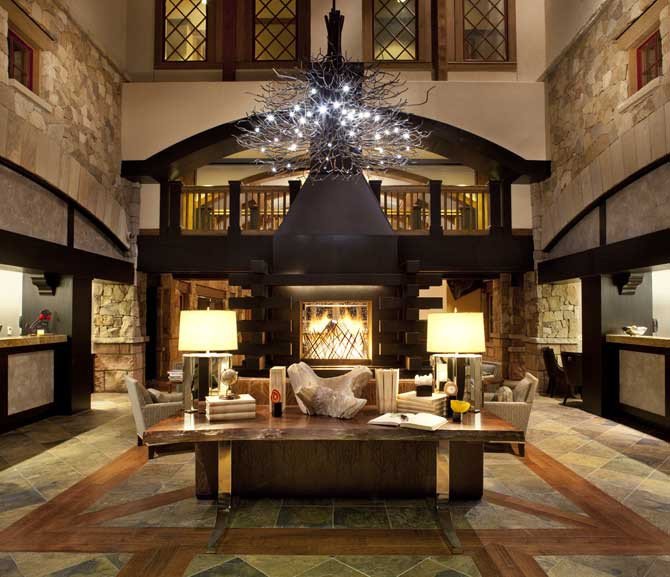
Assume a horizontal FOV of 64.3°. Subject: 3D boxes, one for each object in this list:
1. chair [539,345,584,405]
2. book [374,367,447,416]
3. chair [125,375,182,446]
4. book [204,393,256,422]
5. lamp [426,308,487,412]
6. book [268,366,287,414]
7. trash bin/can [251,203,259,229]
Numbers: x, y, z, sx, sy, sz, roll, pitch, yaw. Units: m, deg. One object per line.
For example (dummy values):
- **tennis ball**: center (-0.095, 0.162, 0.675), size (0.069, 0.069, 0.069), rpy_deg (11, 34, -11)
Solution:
- **chair**: center (4.102, 1.479, 9.134), size (0.879, 1.100, 0.723), rpy_deg (0, -2, -9)
- **book**: center (0.637, 0.858, 4.473), size (0.567, 0.351, 0.221), rpy_deg (0, 1, 9)
- **chair**: center (-1.988, 1.403, 6.070), size (0.603, 0.800, 0.699), rpy_deg (1, 0, 42)
- **book**: center (-0.845, 0.976, 4.343), size (0.381, 0.157, 0.177), rpy_deg (0, 1, -17)
- **lamp**: center (1.016, 0.613, 4.535), size (0.484, 0.823, 0.429), rpy_deg (1, 1, 15)
- **book**: center (-0.473, 0.850, 4.462), size (0.122, 0.394, 0.189), rpy_deg (0, 1, -10)
- **trash bin/can**: center (-1.533, -1.401, 10.304), size (0.152, 0.537, 0.294), rpy_deg (-1, 1, -29)
